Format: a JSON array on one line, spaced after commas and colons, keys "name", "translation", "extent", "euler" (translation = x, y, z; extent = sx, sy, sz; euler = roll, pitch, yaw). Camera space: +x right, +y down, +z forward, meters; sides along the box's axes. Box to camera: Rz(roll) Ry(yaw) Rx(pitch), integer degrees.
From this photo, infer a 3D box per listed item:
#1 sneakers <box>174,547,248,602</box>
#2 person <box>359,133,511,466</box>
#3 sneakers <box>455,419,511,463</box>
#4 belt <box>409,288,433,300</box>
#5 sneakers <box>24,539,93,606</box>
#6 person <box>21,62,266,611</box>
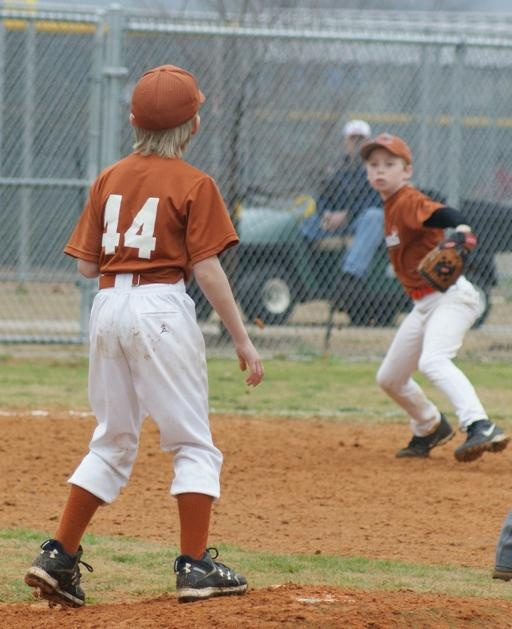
[{"name": "sneakers", "translation": [-0.181, 0.946, 4.232], "extent": [0.333, 0.184, 0.119], "euler": [3, -10, -32]}, {"name": "person", "translation": [0.894, -0.053, 5.844], "extent": [0.458, 1.695, 0.956], "euler": [-4, 10, -23]}, {"name": "sneakers", "translation": [1.117, 0.629, 5.788], "extent": [0.253, 0.089, 0.164], "euler": [-32, 34, 2]}, {"name": "belt", "translation": [0.834, -0.113, 5.922], "extent": [0.063, 0.029, 0.077], "euler": [-18, -7, -6]}, {"name": "sneakers", "translation": [-0.735, 0.937, 4.273], "extent": [0.214, 0.247, 0.125], "euler": [-1, 9, -11]}, {"name": "person", "translation": [-0.404, 0.062, 4.338], "extent": [0.848, 1.969, 0.589], "euler": [0, 9, 0]}]
